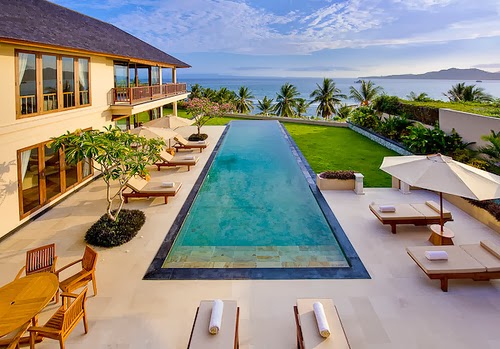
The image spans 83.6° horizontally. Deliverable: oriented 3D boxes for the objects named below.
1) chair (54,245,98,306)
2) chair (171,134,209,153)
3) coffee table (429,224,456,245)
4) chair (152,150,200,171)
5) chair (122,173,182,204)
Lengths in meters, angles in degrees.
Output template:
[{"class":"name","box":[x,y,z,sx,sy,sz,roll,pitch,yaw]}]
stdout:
[{"class":"chair","box":[-4.494,2.613,7.195,0.995,1.087,0.996,6,17,10]},{"class":"chair","box":[-4.481,-2.337,20.853,2.421,0.931,1.199,0,23,-1]},{"class":"coffee table","box":[6.423,2.040,9.366,0.801,0.413,0.709,0,7,8]},{"class":"chair","box":[-4.558,-0.917,17.090,2.351,0.920,1.286,0,20,-3]},{"class":"chair","box":[-4.627,0.537,13.170,2.634,0.927,1.430,-2,17,-4]}]
